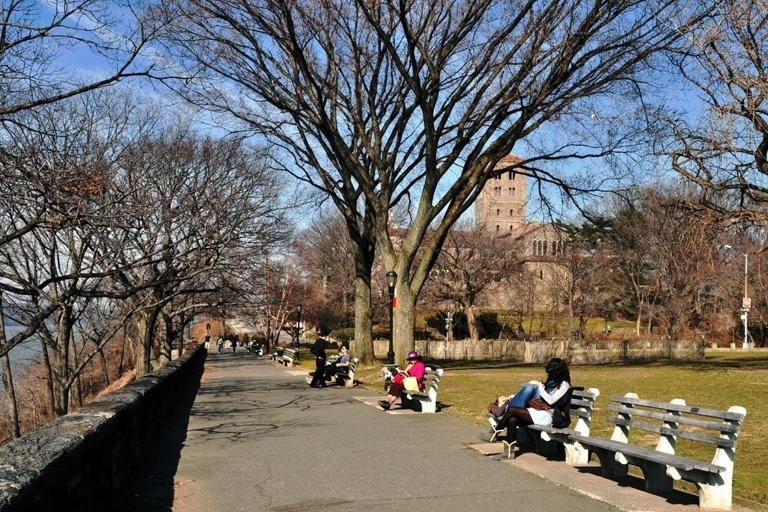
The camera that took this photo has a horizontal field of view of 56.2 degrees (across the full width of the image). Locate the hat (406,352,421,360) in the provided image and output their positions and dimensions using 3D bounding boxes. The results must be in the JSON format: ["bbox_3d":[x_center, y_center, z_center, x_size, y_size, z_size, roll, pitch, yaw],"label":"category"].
[{"bbox_3d":[0.818,2.850,20.574,0.316,0.246,0.594,1,-10,-3],"label":"hat"}]
